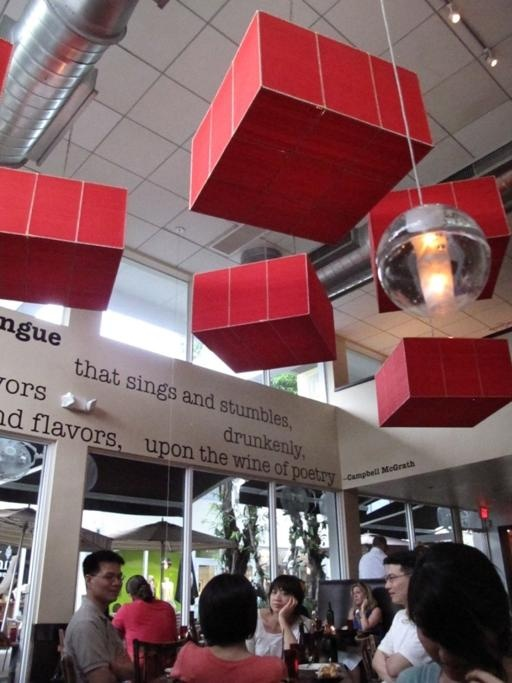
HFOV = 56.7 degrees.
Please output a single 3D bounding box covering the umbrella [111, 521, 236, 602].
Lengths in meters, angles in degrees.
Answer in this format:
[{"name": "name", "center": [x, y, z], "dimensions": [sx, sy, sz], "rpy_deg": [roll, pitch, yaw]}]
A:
[{"name": "umbrella", "center": [-1.104, 2.506, 5.690], "dimensions": [0.861, 0.587, 0.827], "rpy_deg": [1, -42, -6]}]
